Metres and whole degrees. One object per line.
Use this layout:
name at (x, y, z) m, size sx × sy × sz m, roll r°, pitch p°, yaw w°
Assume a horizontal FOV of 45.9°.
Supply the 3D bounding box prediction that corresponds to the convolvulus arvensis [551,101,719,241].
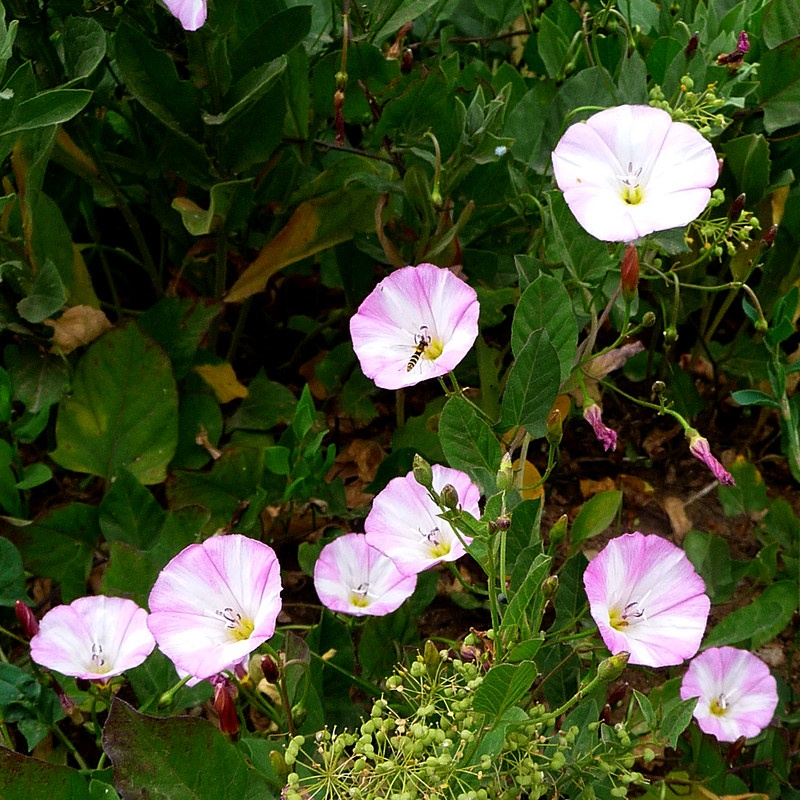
convolvulus arvensis at (0.280, -0.272, 1.142) m, size 0.182 × 0.071 × 0.192 m, roll -6°, pitch 57°, yaw -9°

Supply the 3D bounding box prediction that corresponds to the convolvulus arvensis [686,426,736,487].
convolvulus arvensis at (0.536, 0.104, 1.640) m, size 0.028 × 0.032 × 0.113 m, roll -35°, pitch 77°, yaw 14°

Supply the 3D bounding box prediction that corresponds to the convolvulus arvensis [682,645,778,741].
convolvulus arvensis at (0.438, 0.396, 1.265) m, size 0.116 × 0.128 × 0.108 m, roll 15°, pitch 28°, yaw 17°

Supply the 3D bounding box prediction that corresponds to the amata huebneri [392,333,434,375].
amata huebneri at (0.015, -0.064, 1.178) m, size 0.026 × 0.014 × 0.057 m, roll 36°, pitch 52°, yaw -19°

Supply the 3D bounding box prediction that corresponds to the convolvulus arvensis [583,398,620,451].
convolvulus arvensis at (0.335, 0.046, 1.584) m, size 0.030 × 0.027 × 0.090 m, roll -25°, pitch 92°, yaw -32°

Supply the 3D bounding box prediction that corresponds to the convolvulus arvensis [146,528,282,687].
convolvulus arvensis at (-0.215, 0.227, 1.078) m, size 0.154 × 0.092 × 0.173 m, roll -8°, pitch 57°, yaw -10°
